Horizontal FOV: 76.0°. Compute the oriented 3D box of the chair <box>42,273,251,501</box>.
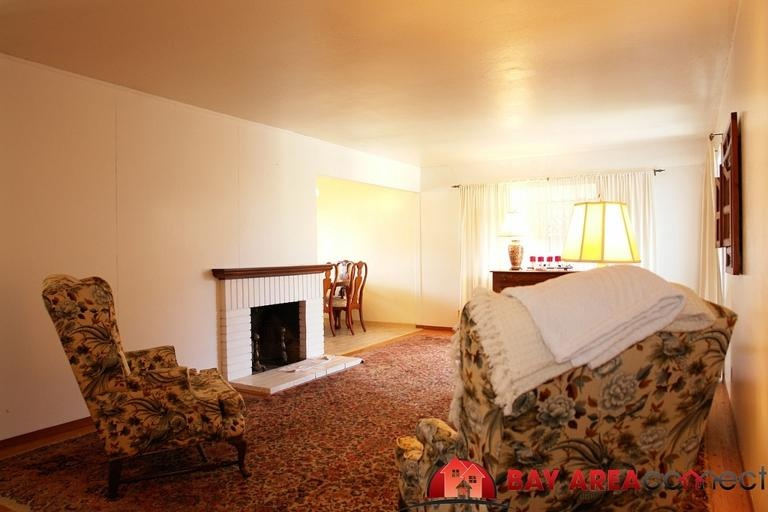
[{"bbox_3d":[-1.722,0.871,4.182,1.584,1.903,1.343,-1,-1,-24],"label":"chair"}]

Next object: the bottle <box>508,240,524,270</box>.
[{"bbox_3d":[2.025,-0.026,7.572,0.225,0.420,0.615,0,5,16],"label":"bottle"}]

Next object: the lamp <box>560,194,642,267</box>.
[{"bbox_3d":[1.893,-0.214,4.471,0.546,0.634,0.634,1,4,12],"label":"lamp"}]

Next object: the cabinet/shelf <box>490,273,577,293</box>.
[{"bbox_3d":[2.003,0.346,7.039,0.927,0.295,0.189,1,5,27],"label":"cabinet/shelf"}]
